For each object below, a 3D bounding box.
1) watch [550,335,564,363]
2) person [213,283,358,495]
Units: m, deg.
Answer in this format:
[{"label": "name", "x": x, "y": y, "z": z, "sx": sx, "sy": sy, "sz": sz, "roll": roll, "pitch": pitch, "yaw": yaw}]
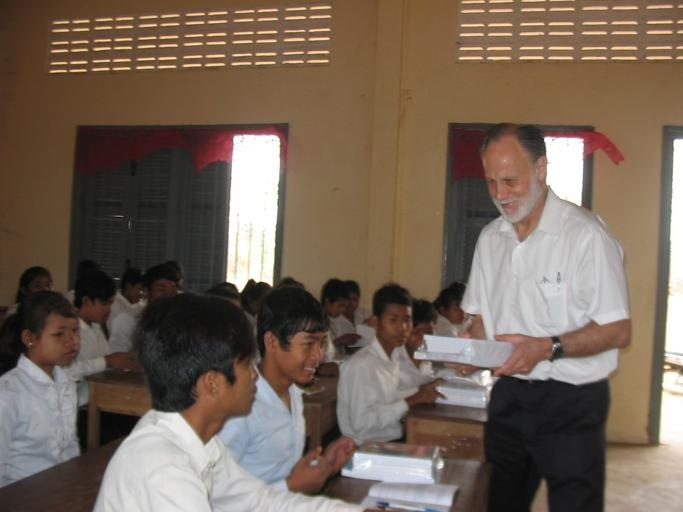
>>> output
[{"label": "watch", "x": 0.790, "y": 0.346, "z": 2.290, "sx": 0.054, "sy": 0.085, "sz": 0.074, "roll": -7, "pitch": 17, "yaw": -6}, {"label": "person", "x": -0.207, "y": 0.500, "z": 2.890, "sx": 0.646, "sy": 1.195, "sz": 0.747, "roll": -1, "pitch": 0, "yaw": 18}]
